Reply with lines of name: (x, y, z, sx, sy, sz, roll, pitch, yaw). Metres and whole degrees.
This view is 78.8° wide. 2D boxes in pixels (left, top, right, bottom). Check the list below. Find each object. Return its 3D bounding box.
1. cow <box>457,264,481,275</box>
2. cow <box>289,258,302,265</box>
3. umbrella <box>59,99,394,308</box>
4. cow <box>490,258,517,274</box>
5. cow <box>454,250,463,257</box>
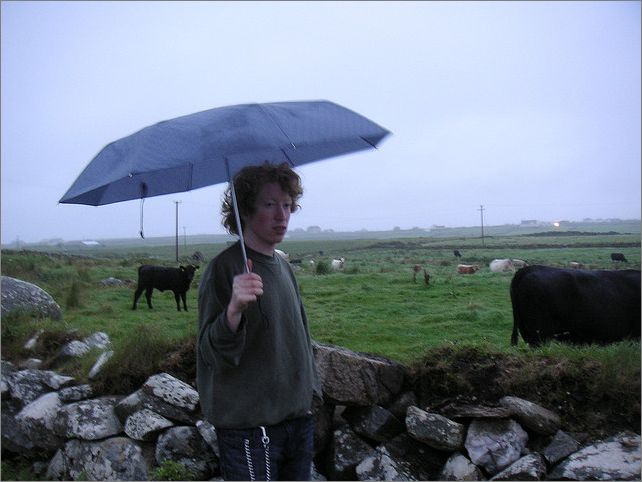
cow: (11.127, 2.121, 29.422, 1.574, 0.834, 0.796, 0, 0, 7)
cow: (-2.465, 1.879, 36.815, 1.431, 0.760, 0.534, 2, -8, 42)
umbrella: (-1.001, -0.898, 3.993, 2.233, 1.289, 2.277, -30, 11, -35)
cow: (14.133, 1.836, 30.291, 1.704, 0.974, 1.461, 1, 3, 26)
cow: (18.344, 1.668, 52.424, 1.011, 0.487, 1.458, -1, -18, 15)
